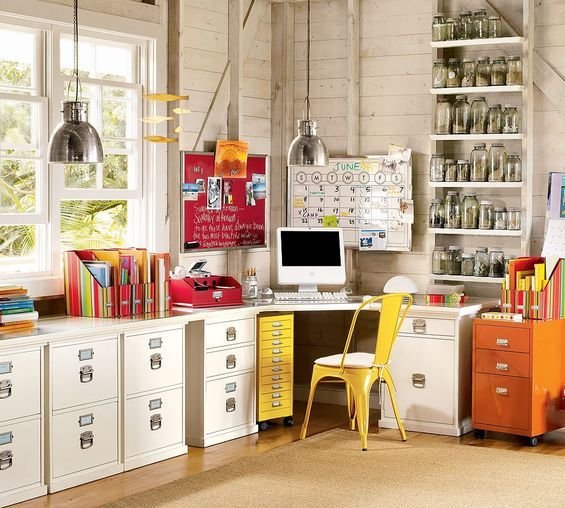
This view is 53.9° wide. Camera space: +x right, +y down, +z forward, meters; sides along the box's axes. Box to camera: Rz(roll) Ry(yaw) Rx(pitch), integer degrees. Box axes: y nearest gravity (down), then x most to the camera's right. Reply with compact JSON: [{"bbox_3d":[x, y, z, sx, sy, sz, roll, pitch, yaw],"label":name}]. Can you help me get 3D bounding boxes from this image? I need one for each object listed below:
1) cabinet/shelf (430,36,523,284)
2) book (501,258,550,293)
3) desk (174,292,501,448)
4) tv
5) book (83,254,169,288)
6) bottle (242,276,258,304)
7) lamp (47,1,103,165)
[{"bbox_3d":[1.378,-1.113,4.121,0.523,1.515,0.213,-8,-30,26],"label":"cabinet/shelf"},{"bbox_3d":[1.613,0.129,3.695,0.203,0.287,0.288,1,2,36],"label":"book"},{"bbox_3d":[0.469,0.587,3.988,1.299,0.716,1.271,-3,-5,34],"label":"desk"},{"bbox_3d":[0.226,0.032,4.330,0.500,0.469,0.164,0,-10,-8],"label":"tv"},{"bbox_3d":[-0.925,0.081,3.284,0.528,0.203,0.296,-2,5,-21],"label":"book"},{"bbox_3d":[-0.224,0.265,4.000,0.138,0.268,0.185,1,-4,1],"label":"bottle"},{"bbox_3d":[-1.037,-0.878,2.722,0.238,0.901,0.694,-3,5,-22],"label":"lamp"}]
